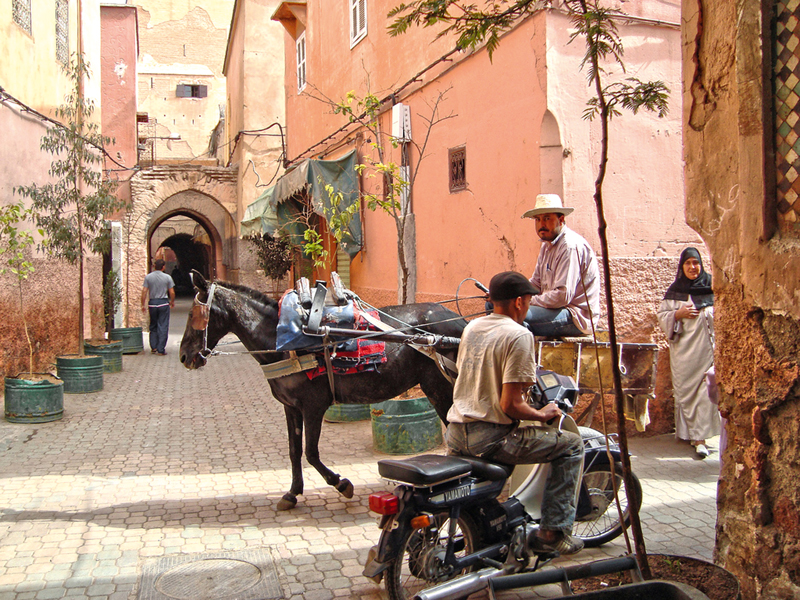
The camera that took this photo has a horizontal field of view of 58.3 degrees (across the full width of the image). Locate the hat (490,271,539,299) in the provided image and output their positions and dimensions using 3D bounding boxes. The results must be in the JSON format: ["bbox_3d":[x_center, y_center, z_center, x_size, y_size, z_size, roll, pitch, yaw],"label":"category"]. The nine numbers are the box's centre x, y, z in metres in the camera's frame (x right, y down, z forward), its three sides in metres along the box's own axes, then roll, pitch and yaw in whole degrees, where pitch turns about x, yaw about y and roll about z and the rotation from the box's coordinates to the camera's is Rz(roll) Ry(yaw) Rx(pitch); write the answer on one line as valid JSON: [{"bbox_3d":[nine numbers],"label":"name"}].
[{"bbox_3d":[0.710,-0.101,4.510,0.232,0.125,0.175,-10,14,-14],"label":"hat"}]

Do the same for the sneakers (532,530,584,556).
[{"bbox_3d":[0.981,1.527,4.603,0.370,0.176,0.146,-1,20,-4],"label":"sneakers"}]

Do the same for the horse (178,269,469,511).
[{"bbox_3d":[-0.459,0.834,6.815,3.074,2.368,0.811,-3,3,-19],"label":"horse"}]

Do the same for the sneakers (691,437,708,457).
[{"bbox_3d":[3.144,1.543,7.517,0.089,0.128,0.295,0,5,13],"label":"sneakers"}]

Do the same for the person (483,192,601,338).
[{"bbox_3d":[1.371,-0.310,6.633,0.896,1.248,0.852,3,9,20],"label":"person"}]

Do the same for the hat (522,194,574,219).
[{"bbox_3d":[1.375,-0.841,6.537,0.363,0.149,0.408,-4,-6,22],"label":"hat"}]

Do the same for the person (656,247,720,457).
[{"bbox_3d":[3.141,0.531,7.632,0.444,2.167,0.669,-2,4,-12],"label":"person"}]
